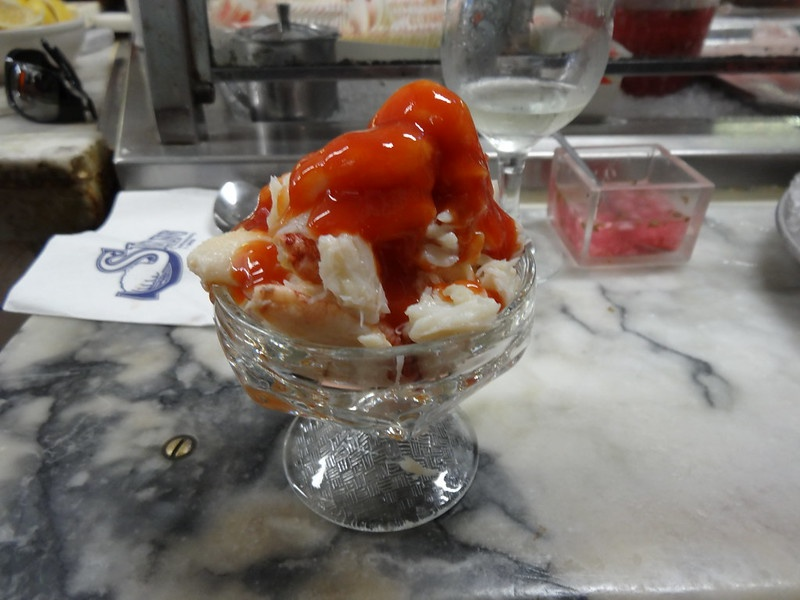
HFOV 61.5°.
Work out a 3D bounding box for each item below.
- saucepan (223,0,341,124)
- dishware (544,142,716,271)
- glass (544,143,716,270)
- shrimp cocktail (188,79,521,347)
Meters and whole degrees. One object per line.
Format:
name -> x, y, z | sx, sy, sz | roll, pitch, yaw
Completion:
saucepan -> -0.190, -0.395, 1.114 | 0.160, 0.157, 0.160 | -3, 32, -5
dishware -> 0.348, -0.135, 1.068 | 0.213, 0.155, 0.209 | -3, 34, -6
glass -> 0.344, -0.141, 1.047 | 0.213, 0.154, 0.210 | -1, 36, -2
shrimp cocktail -> -0.036, -0.088, 0.653 | 0.318, 0.168, 0.224 | 12, 46, 11
